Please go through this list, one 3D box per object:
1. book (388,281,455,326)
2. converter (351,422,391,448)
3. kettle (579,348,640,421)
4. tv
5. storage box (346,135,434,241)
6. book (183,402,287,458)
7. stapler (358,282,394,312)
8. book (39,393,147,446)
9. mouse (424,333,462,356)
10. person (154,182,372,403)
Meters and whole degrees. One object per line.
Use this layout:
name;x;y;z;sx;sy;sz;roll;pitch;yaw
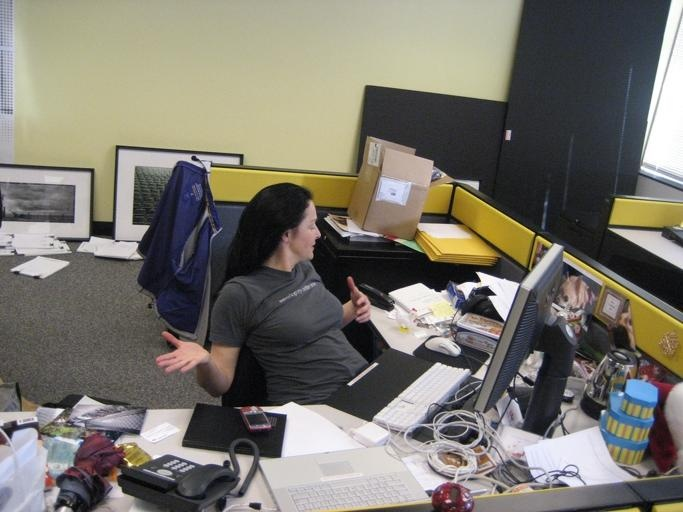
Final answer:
book;0.390;0.226;2.266;0.162;0.051;0.214;-12;36;-26
converter;0.100;0.538;1.504;0.081;0.041;0.060;11;18;32
kettle;0.913;0.443;1.658;0.134;0.221;0.212;17;21;22
tv;0.624;0.303;1.536;0.254;0.587;0.410;18;30;29
storage box;0.298;-0.406;2.965;0.365;0.493;0.383;11;19;-16
book;-0.317;0.531;1.502;0.304;0.040;0.182;6;19;2
stapler;0.168;0.190;2.374;0.065;0.081;0.225;-18;38;-36
book;-0.757;0.497;1.502;0.146;0.034;0.161;10;18;-1
mouse;0.414;0.351;1.977;0.123;0.042;0.070;8;20;21
person;-0.264;0.164;1.820;0.777;0.803;0.420;-6;22;-30
